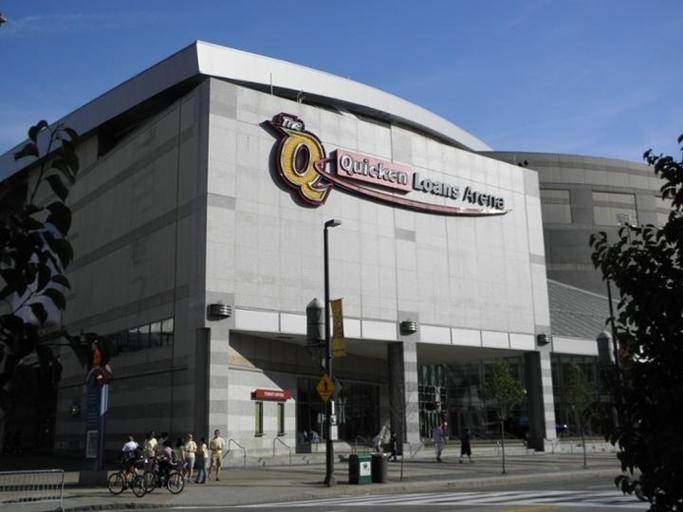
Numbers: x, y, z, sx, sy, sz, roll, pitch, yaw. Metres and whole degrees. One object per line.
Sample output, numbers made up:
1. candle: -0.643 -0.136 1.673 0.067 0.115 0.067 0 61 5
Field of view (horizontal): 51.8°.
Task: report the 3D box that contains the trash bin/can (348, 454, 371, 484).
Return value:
1. trash bin/can: 0.703 7.982 26.197 0.860 1.076 0.667 -1 -18 -3
